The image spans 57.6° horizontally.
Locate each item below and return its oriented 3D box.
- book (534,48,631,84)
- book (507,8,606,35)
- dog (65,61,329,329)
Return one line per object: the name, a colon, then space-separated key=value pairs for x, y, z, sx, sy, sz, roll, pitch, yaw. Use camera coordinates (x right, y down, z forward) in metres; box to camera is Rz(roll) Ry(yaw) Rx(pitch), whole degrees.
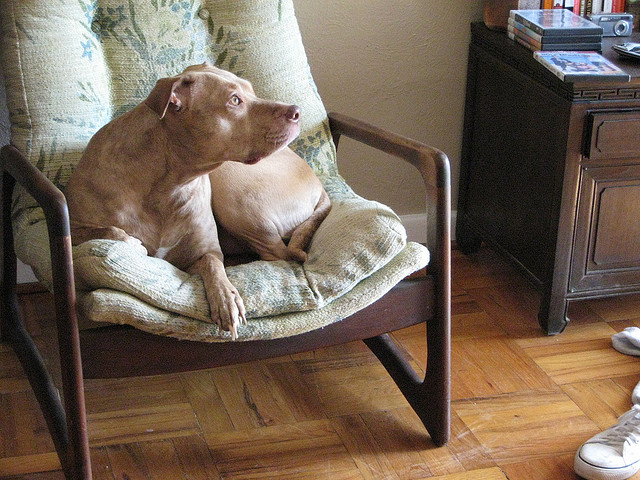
book: x=0.784 y=-0.523 z=1.766 sx=0.192 sy=0.033 sz=0.263 roll=-1 pitch=32 yaw=-1
book: x=0.765 y=-0.720 z=1.930 sx=0.214 sy=0.060 sz=0.255 roll=-8 pitch=30 yaw=-8
dog: x=-0.323 y=-0.167 z=1.514 sx=0.659 sy=0.506 sz=0.725 roll=-1 pitch=17 yaw=-7
